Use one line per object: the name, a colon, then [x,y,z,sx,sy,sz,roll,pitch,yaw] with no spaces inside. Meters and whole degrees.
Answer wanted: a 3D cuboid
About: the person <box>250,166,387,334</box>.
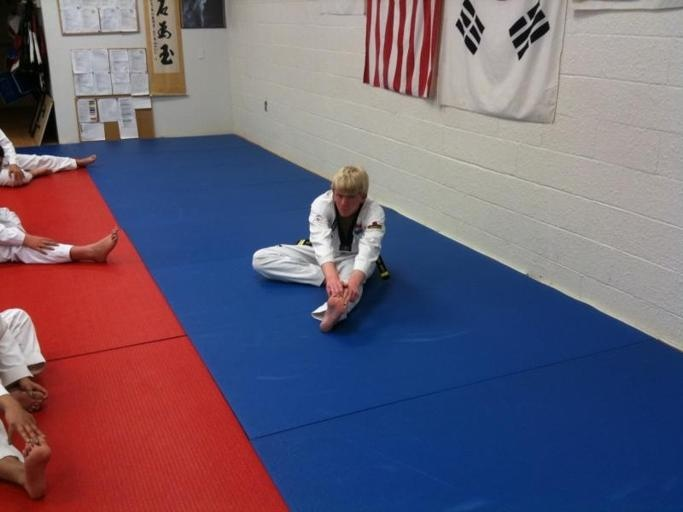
person: [-0.069,-0.130,2.967,0.712,0.826,1.013,16,30,21]
